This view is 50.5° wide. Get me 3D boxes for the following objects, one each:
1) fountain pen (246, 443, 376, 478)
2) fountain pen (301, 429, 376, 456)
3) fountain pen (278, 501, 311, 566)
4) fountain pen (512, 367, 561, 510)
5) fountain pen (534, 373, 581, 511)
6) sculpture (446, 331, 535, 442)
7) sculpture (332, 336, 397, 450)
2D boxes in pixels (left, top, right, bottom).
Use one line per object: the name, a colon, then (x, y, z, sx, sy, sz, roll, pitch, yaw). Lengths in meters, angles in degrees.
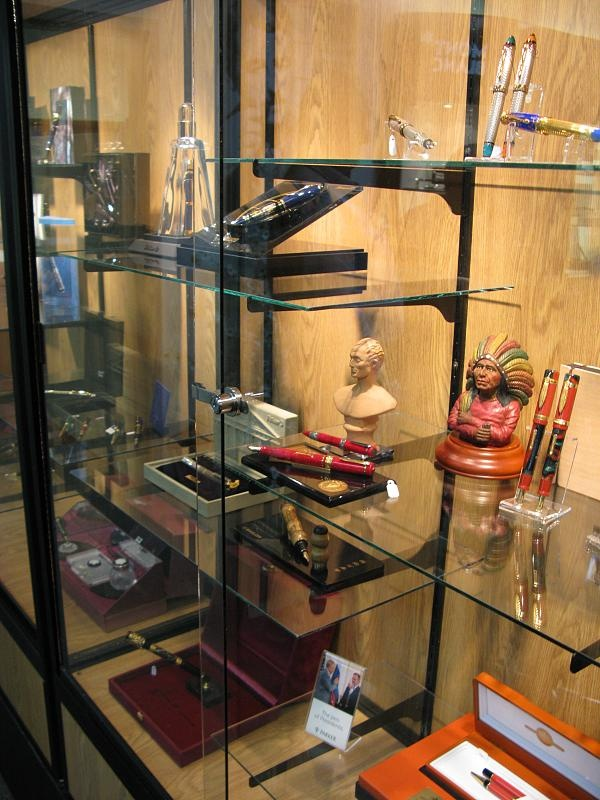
fountain pen: (0.010, 0.079, 0.811, 0.143, 0.025, 0.021, 11, 4, 29)
fountain pen: (0.050, 0.058, 0.845, 0.089, 0.017, 0.016, 14, 1, 44)
fountain pen: (-0.007, 0.175, 0.838, 0.025, 0.106, 0.026, -21, 4, -38)
fountain pen: (0.257, 0.045, 0.695, 0.017, 0.157, 0.023, 11, 8, -1)
fountain pen: (0.273, 0.047, 0.676, 0.017, 0.149, 0.021, 13, 2, 13)
sculpture: (0.225, -0.016, 0.759, 0.088, 0.129, 0.073, 11, 14, 38)
sculpture: (0.094, -0.006, 0.905, 0.067, 0.179, 0.120, -6, 17, -29)
